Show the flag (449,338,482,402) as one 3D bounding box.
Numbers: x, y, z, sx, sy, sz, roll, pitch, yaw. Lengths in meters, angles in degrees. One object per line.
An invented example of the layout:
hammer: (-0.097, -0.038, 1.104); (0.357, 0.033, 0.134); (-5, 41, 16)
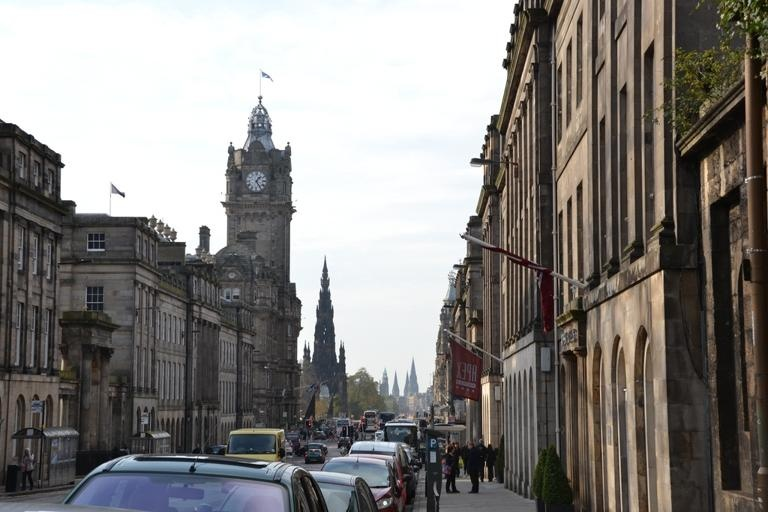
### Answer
flag: (3.820, 5.306, 77.139); (1.412, 3.157, 4.365); (-3, -16, 3)

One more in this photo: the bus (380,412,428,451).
bus: (1.343, 11.525, 109.625); (2.225, 2.757, 6.675); (1, -7, 1)
